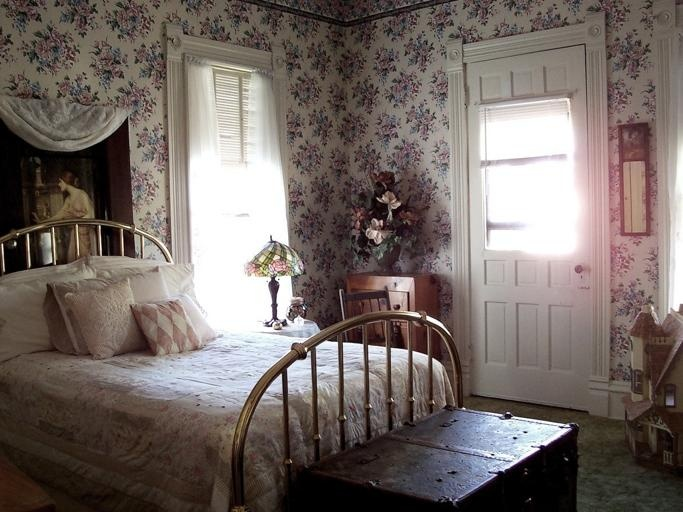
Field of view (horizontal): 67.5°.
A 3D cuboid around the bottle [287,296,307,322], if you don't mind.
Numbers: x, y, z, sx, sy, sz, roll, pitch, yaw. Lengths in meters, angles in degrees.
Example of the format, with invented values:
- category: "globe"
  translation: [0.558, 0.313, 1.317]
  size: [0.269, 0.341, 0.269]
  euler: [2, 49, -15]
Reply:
- category: "bottle"
  translation: [-0.360, 0.439, 4.246]
  size: [0.169, 0.188, 0.164]
  euler: [-1, 0, 36]

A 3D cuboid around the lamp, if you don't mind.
- category: "lamp"
  translation: [-0.569, 0.217, 4.145]
  size: [0.388, 0.691, 0.408]
  euler: [-2, -2, -2]

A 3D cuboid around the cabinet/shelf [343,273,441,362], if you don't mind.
- category: "cabinet/shelf"
  translation: [0.658, 0.697, 4.867]
  size: [0.359, 0.984, 0.636]
  euler: [1, -6, -36]

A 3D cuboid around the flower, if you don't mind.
- category: "flower"
  translation: [0.458, -0.356, 5.011]
  size: [0.675, 0.952, 0.742]
  euler: [-5, 5, -16]

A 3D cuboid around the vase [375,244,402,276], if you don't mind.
- category: "vase"
  translation: [0.462, 0.031, 4.871]
  size: [0.237, 0.297, 0.264]
  euler: [1, 7, 10]
